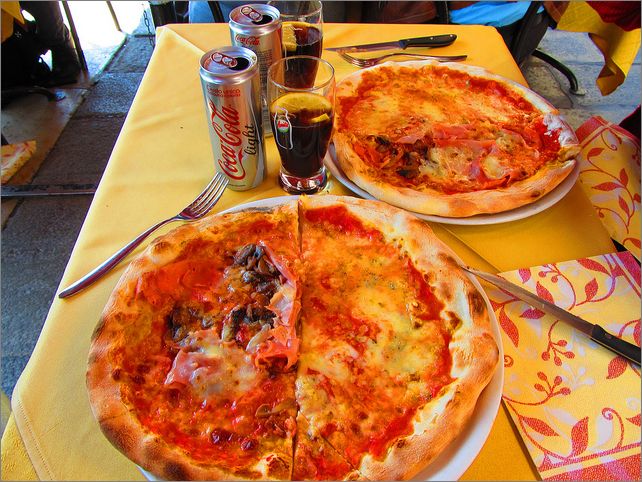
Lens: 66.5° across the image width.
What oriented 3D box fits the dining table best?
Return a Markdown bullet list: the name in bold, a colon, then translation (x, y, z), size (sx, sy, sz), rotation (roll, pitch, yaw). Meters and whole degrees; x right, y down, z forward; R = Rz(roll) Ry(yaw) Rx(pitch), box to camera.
- **dining table**: translation (-0.058, 0.263, 2.095), size (1.299, 0.493, 2.164), rotation (2, 54, -1)
